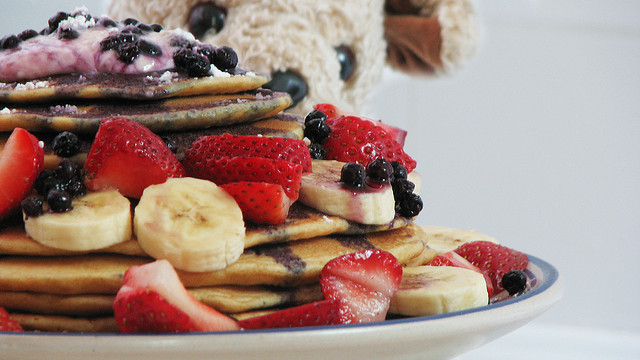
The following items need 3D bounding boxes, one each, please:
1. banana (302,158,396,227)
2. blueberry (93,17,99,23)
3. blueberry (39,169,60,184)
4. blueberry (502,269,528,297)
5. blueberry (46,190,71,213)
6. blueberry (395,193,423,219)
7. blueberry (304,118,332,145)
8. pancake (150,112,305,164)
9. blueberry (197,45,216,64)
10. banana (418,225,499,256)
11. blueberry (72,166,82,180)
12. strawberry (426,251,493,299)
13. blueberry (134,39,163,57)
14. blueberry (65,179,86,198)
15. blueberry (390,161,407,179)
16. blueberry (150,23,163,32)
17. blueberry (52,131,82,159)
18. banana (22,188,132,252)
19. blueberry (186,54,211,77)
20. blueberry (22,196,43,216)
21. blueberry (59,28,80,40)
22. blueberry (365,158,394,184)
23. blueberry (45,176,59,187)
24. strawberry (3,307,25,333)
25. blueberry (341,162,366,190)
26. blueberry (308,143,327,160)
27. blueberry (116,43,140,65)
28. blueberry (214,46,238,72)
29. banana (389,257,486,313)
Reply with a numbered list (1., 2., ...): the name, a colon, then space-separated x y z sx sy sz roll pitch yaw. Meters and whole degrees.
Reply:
1. banana: 0.083 0.059 2.555 0.246 0.054 0.218 12 29 2
2. blueberry: -0.730 -0.527 2.720 0.017 0.010 0.019 18 -5 14
3. blueberry: -0.793 -0.016 2.424 0.049 0.023 0.048 -8 22 -22
4. blueberry: 0.617 0.332 2.649 0.082 0.094 0.102 -7 -7 24
5. blueberry: -0.737 0.060 2.354 0.055 0.053 0.070 -12 -5 -11
6. blueberry: 0.278 0.083 2.595 0.092 0.061 0.042 0 34 19
7. blueberry: -0.005 -0.165 2.656 0.070 0.060 0.085 -3 1 -3
8. pancake: -0.403 -0.211 2.787 0.520 0.116 0.486 -6 13 -12
9. blueberry: -0.356 -0.393 2.597 0.048 0.024 0.046 26 30 22
10. banana: 0.490 0.208 3.069 0.275 0.094 0.200 1 12 15
11. blueberry: -0.707 -0.023 2.422 0.035 0.027 0.024 0 4 -3
12. strawberry: 0.441 0.305 2.688 0.201 0.127 0.199 2 1 -18
13. blueberry: -0.524 -0.402 2.540 0.067 0.021 0.048 18 22 -11
14. blueberry: -0.704 0.024 2.399 0.055 0.049 0.029 11 -15 -19
15. blueberry: 0.243 -0.031 2.600 0.053 0.019 0.041 44 55 15
16. blueberry: -0.529 -0.492 2.689 0.031 0.010 0.030 24 26 3
17. blueberry: -0.751 -0.104 2.456 0.080 0.072 0.042 5 -5 -6
18. banana: -0.689 0.113 2.380 0.289 0.158 0.111 -1 16 -14
19. blueberry: -0.372 -0.350 2.531 0.067 0.058 0.034 12 -10 -5
20. blueberry: -0.813 0.073 2.366 0.057 0.047 0.045 11 17 28
21. blueberry: -0.779 -0.456 2.584 0.047 0.021 0.043 3 19 -12
22. blueberry: 0.183 -0.033 2.498 0.067 0.045 0.084 -10 -1 3
23. blueberry: -0.769 0.003 2.385 0.028 0.014 0.025 1 9 15
24. strawberry: -0.874 0.405 2.374 0.055 0.069 0.057 -2 16 -19
25. blueberry: 0.101 -0.020 2.542 0.093 0.081 0.081 -1 1 25
26. blueberry: -0.011 -0.097 2.644 0.048 0.043 0.056 0 0 0
27. blueberry: -0.586 -0.386 2.531 0.068 0.061 0.034 10 17 22
28. blueberry: -0.299 -0.384 2.607 0.086 0.074 0.076 -1 -1 1
29. banana: 0.360 0.337 2.505 0.271 0.112 0.193 6 15 12
